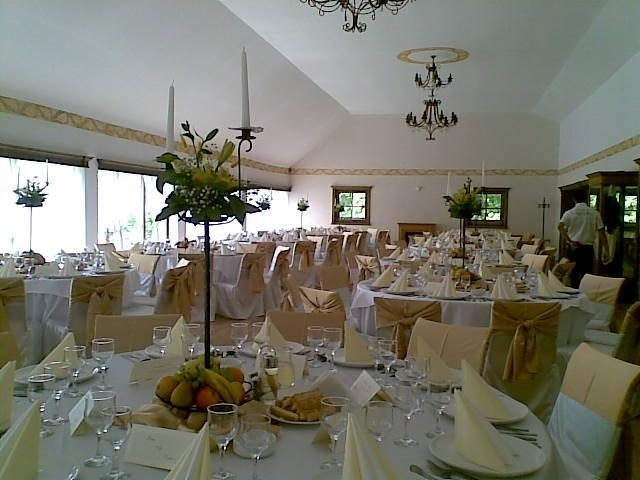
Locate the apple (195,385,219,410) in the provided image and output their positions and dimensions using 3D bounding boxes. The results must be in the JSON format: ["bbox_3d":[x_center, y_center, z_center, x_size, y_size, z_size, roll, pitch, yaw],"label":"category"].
[{"bbox_3d":[-0.430,0.598,1.914,0.075,0.096,0.081,5,43,-29],"label":"apple"}]

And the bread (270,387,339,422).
[{"bbox_3d":[-0.086,0.682,2.000,0.162,0.066,0.174,-1,6,-10],"label":"bread"}]

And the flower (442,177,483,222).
[{"bbox_3d":[1.666,-0.427,5.632,0.328,0.374,0.702,1,2,19],"label":"flower"}]
